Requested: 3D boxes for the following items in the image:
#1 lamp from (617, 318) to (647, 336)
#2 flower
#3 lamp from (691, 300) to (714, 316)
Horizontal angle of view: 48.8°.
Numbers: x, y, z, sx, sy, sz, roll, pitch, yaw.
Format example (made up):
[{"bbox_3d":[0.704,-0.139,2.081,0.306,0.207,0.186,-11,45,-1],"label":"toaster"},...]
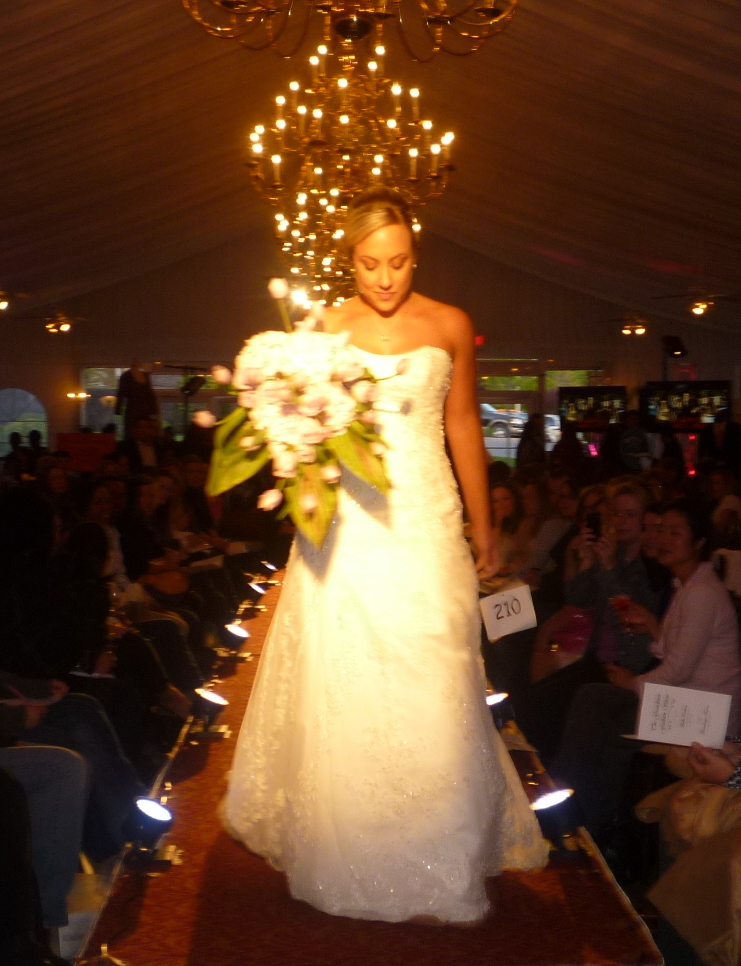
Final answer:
[{"bbox_3d":[4.879,-2.844,15.177,0.484,0.154,0.437,0,-4,-25],"label":"lamp"},{"bbox_3d":[-0.149,-0.078,1.551,0.412,0.399,0.195,2,-10,6],"label":"flower"},{"bbox_3d":[5.272,-2.768,12.921,0.435,0.082,0.393,4,-14,-39],"label":"lamp"}]
